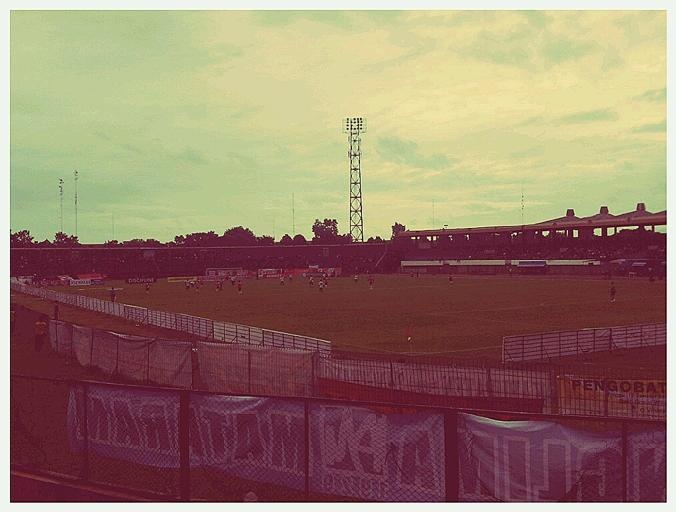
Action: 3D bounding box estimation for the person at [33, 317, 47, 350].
[{"bbox_3d":[-14.304,3.803,46.133,0.596,1.004,1.816,-5,12,-16],"label":"person"}]
